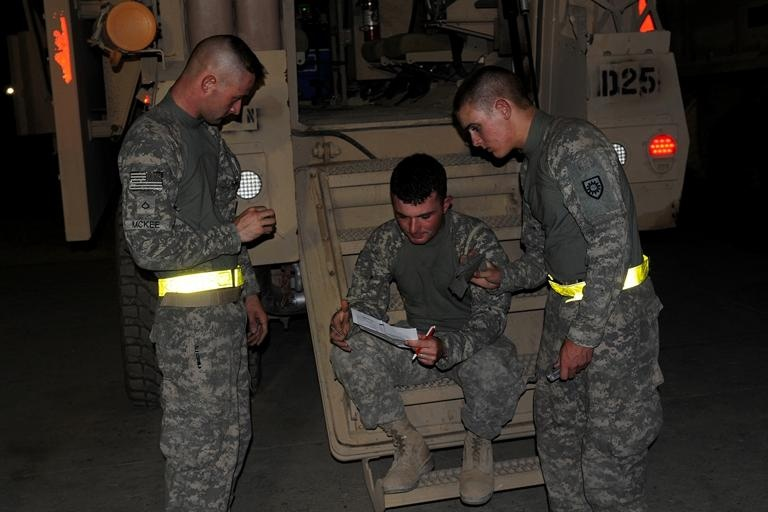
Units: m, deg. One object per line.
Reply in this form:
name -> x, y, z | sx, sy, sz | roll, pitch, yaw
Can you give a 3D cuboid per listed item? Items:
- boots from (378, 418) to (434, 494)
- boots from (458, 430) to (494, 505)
boots -> 0.113, 1.079, 3.641 | 0.263, 0.336, 0.291 | -1, 11, 14
boots -> 0.505, 1.155, 3.654 | 0.143, 0.163, 0.421 | -1, 24, 8
